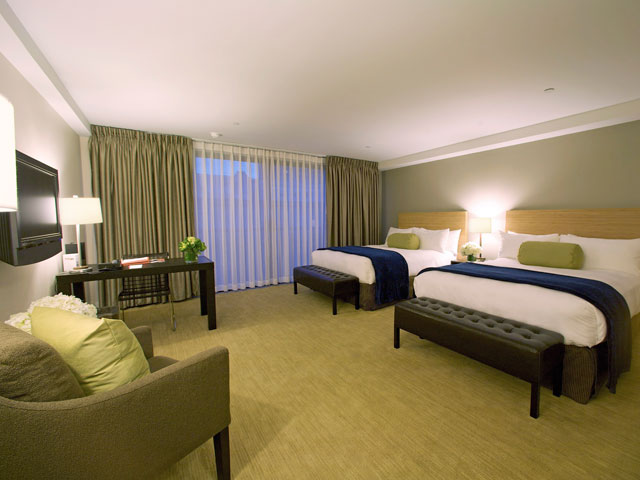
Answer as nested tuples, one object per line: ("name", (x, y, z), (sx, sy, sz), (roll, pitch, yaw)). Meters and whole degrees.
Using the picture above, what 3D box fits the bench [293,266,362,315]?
("bench", (0.093, 0.654, 5.690), (0.475, 0.431, 1.004), (-6, 10, -33))

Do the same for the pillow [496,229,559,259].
("pillow", (2.541, 0.087, 5.476), (0.136, 0.365, 0.493), (21, -15, -28))

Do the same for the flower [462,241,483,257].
("flower", (2.188, 0.124, 6.057), (0.228, 0.231, 0.230), (2, 1, 43))

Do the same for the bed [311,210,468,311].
("bed", (1.034, 0.194, 6.631), (2.036, 1.229, 1.845), (-4, 5, -36))

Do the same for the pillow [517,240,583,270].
("pillow", (2.635, 0.175, 4.810), (0.300, 0.285, 0.617), (2, -3, -34))

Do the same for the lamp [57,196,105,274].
("lamp", (-2.577, -0.094, 4.513), (0.388, 0.744, 0.640), (-7, 11, -32))

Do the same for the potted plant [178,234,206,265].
("potted plant", (-1.484, 0.115, 5.083), (0.418, 0.402, 0.414), (3, -4, -27))

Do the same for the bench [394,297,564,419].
("bench", (1.394, 0.982, 3.999), (0.533, 0.572, 1.592), (-8, 11, -32))

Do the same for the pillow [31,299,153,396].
("pillow", (-1.542, 0.764, 2.828), (0.901, 0.633, 0.489), (5, 11, 33))
